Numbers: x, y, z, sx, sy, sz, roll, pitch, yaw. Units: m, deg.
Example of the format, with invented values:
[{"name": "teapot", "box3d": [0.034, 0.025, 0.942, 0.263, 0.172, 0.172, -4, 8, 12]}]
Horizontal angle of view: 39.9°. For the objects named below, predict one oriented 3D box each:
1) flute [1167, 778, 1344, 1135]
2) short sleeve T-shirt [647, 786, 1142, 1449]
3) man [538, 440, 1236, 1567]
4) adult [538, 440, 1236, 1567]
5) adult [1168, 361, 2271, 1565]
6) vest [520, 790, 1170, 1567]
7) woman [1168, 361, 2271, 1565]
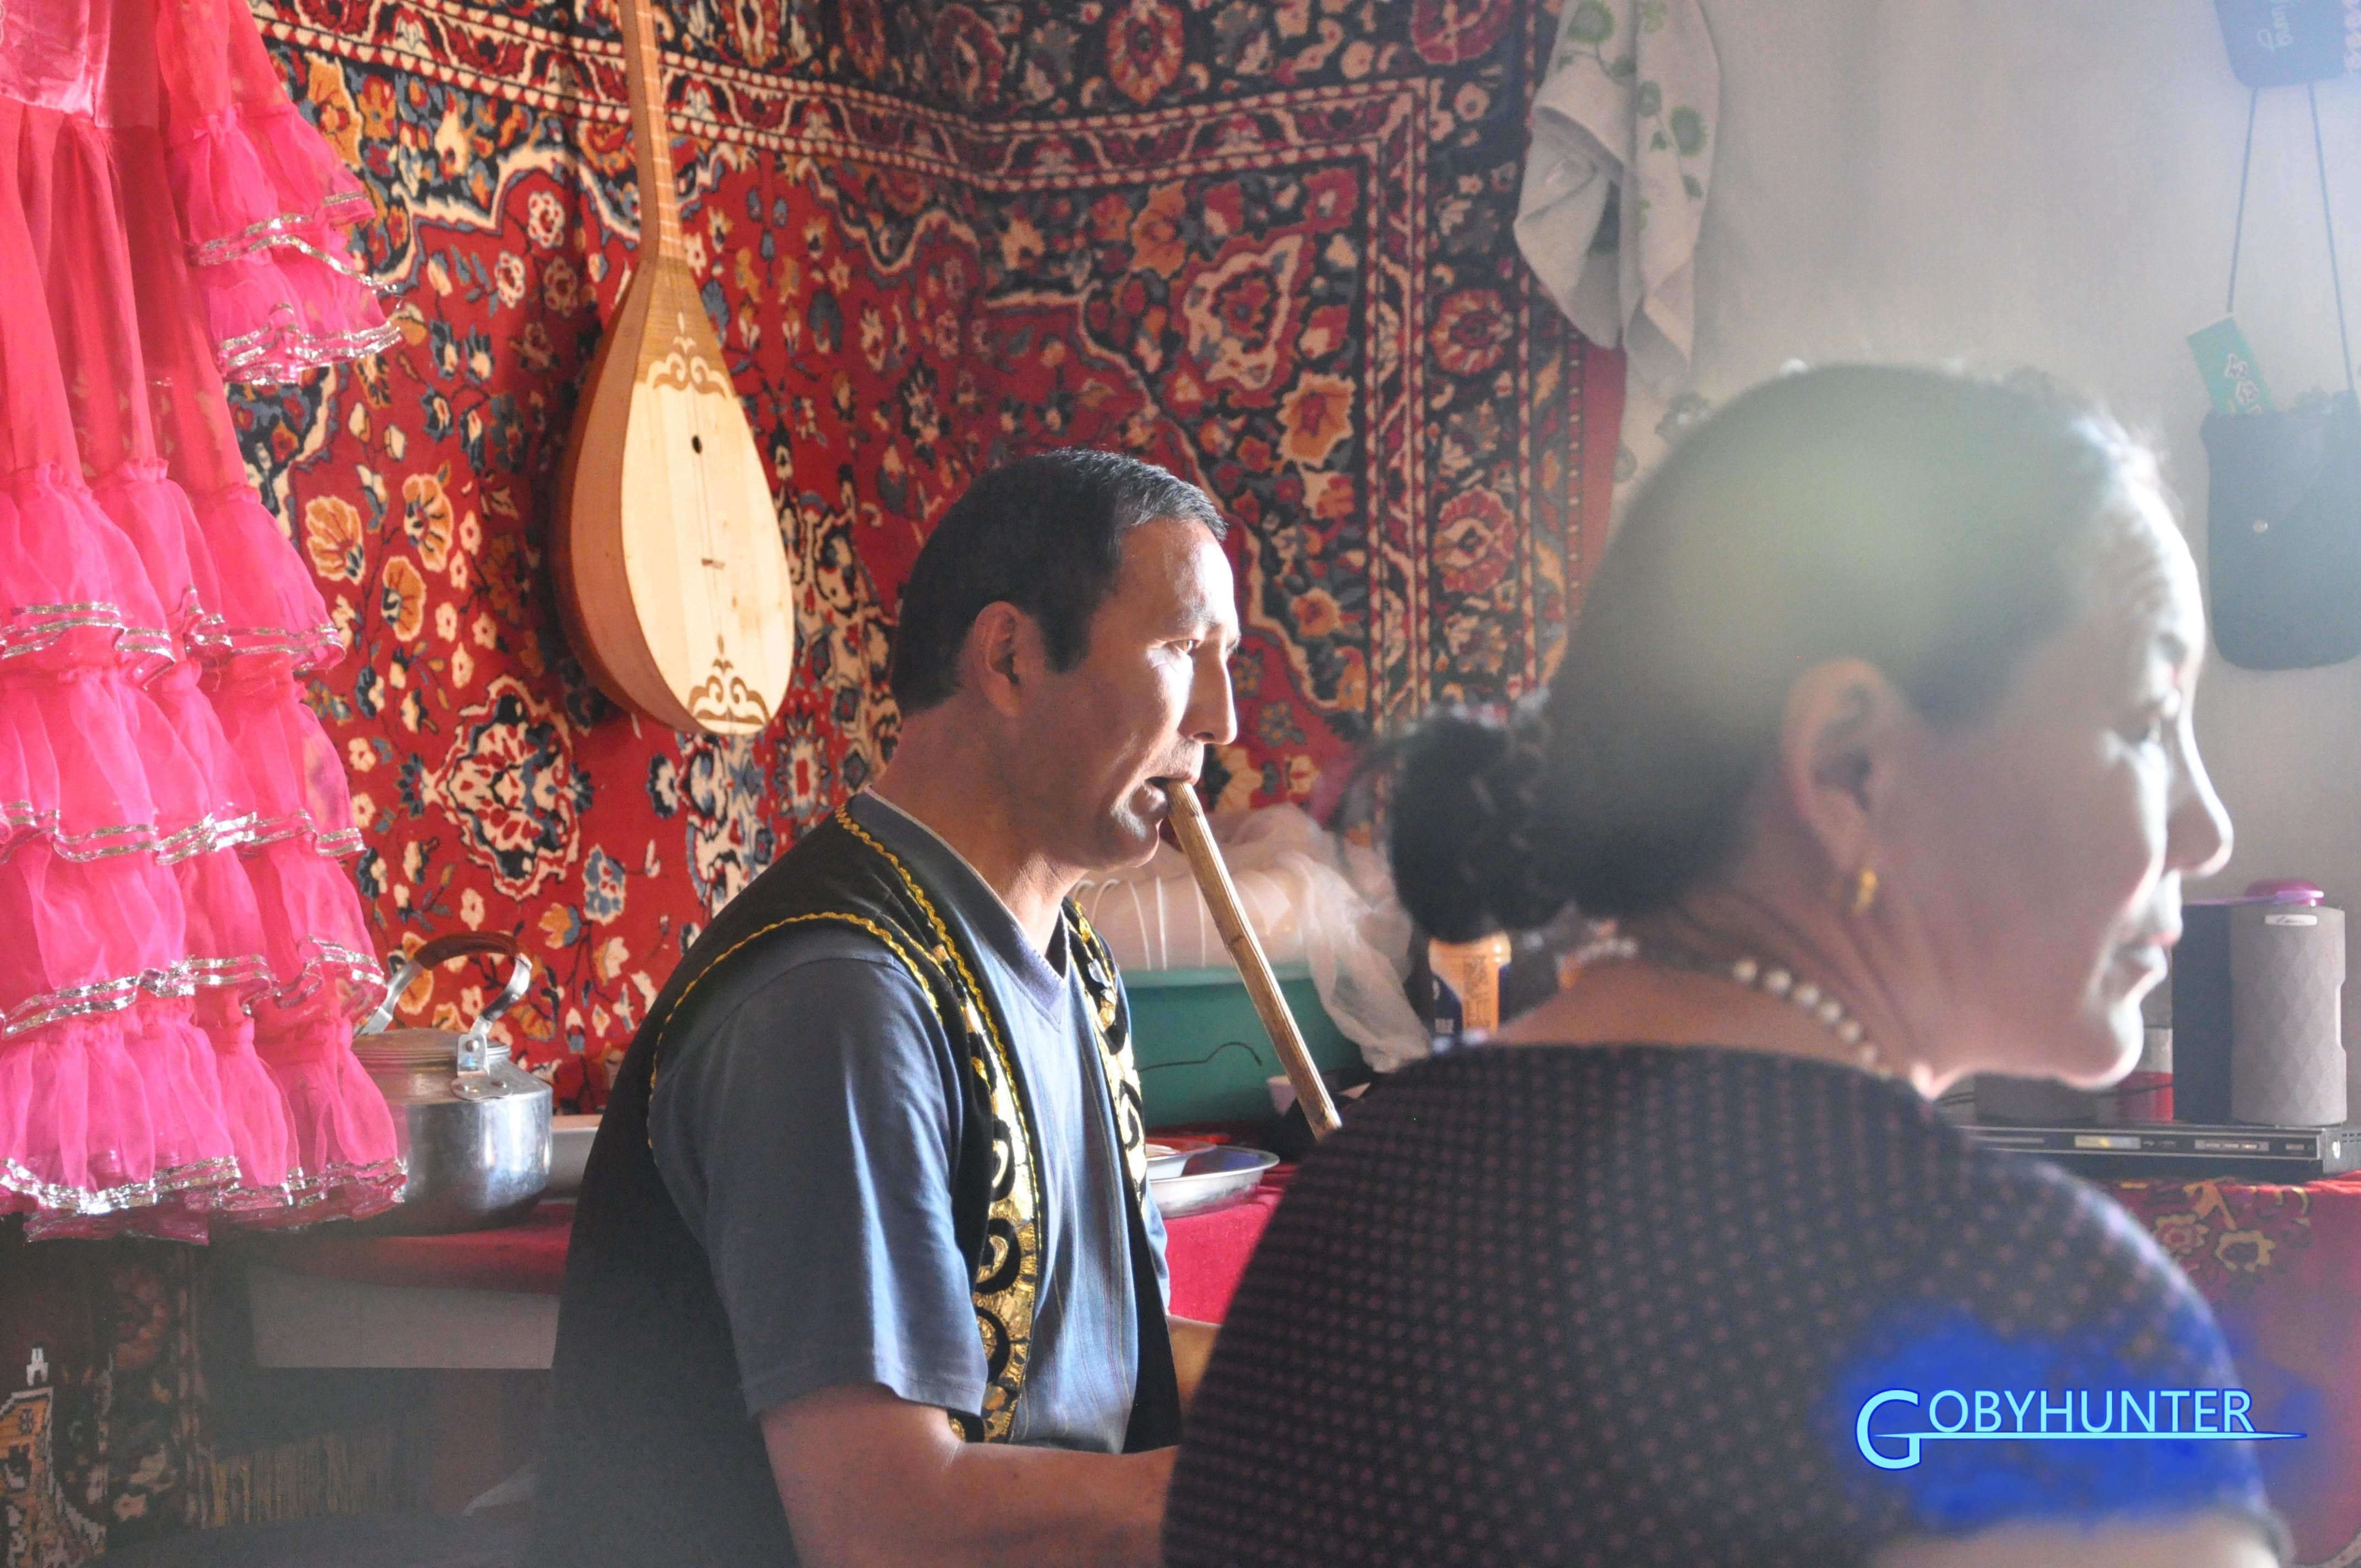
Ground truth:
[{"name": "flute", "box3d": [0.092, 0.244, 4.144, 0.048, 0.504, 0.037, -21, 1, 40]}, {"name": "short sleeve T-shirt", "box3d": [-0.274, 0.382, 3.317, 0.365, 0.722, 0.726, -2, -13, 20]}, {"name": "man", "box3d": [-0.180, 0.314, 3.741, 0.941, 1.413, 0.975, 1, -8, 0]}, {"name": "adult", "box3d": [-0.245, 0.324, 3.737, 0.941, 1.413, 0.975, 1, -8, 0]}, {"name": "adult", "box3d": [0.443, 0.194, 2.877, 0.803, 1.036, 0.996, -2, 1, -22]}, {"name": "vest", "box3d": [-0.231, 0.369, 3.421, 0.617, 0.842, 0.995, -4, -8, 17]}, {"name": "woman", "box3d": [0.403, 0.201, 2.876, 0.803, 1.036, 0.996, -2, 1, -22]}]
